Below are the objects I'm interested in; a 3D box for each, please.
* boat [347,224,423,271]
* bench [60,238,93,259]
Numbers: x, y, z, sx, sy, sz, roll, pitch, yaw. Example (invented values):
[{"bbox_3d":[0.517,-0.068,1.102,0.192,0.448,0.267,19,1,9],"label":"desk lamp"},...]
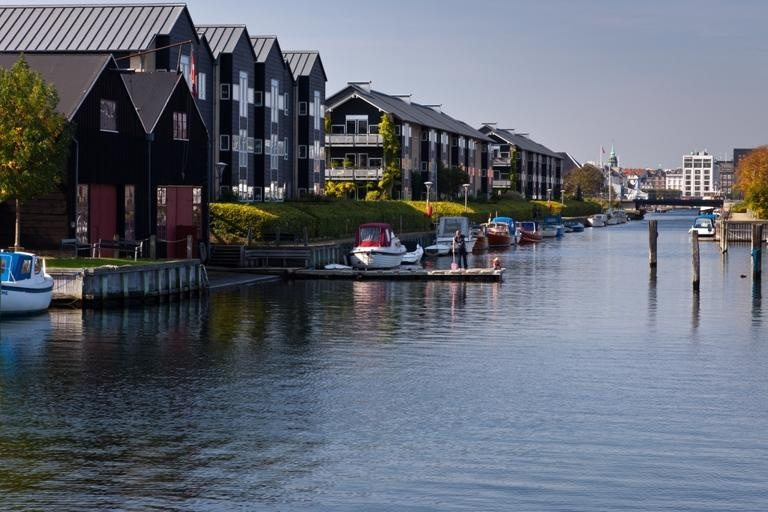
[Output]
[{"bbox_3d":[-0.404,-0.450,73.701,2.698,2.488,1.869,-1,14,-7],"label":"boat"},{"bbox_3d":[-13.152,-0.349,60.190,0.881,0.540,0.874,0,-6,22],"label":"bench"}]
